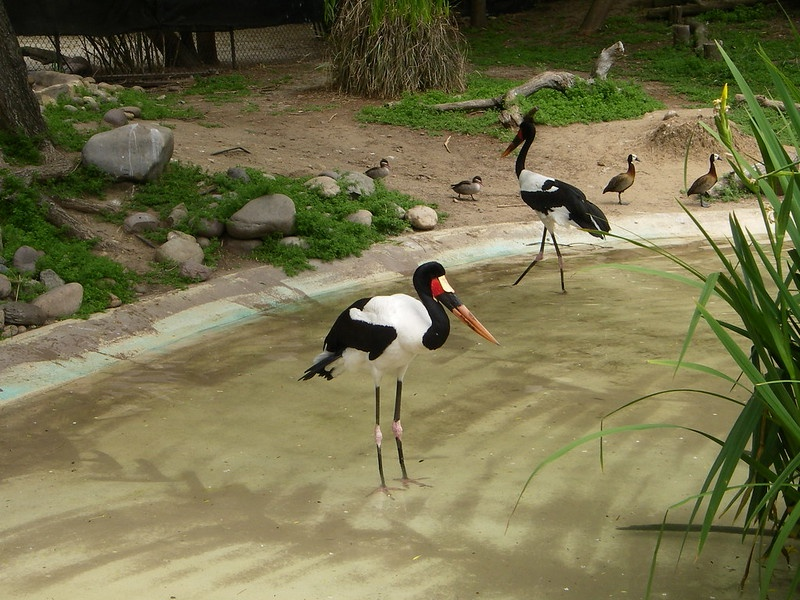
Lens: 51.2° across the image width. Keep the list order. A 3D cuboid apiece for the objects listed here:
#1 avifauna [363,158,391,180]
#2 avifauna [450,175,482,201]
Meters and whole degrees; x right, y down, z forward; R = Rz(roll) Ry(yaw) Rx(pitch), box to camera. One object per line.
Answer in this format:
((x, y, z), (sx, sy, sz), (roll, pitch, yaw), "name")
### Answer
((-0.265, -1.959, 12.551), (0.613, 0.339, 0.253), (-3, 28, -10), "avifauna")
((0.964, -1.652, 12.386), (0.579, 0.271, 0.302), (9, 16, 34), "avifauna")
